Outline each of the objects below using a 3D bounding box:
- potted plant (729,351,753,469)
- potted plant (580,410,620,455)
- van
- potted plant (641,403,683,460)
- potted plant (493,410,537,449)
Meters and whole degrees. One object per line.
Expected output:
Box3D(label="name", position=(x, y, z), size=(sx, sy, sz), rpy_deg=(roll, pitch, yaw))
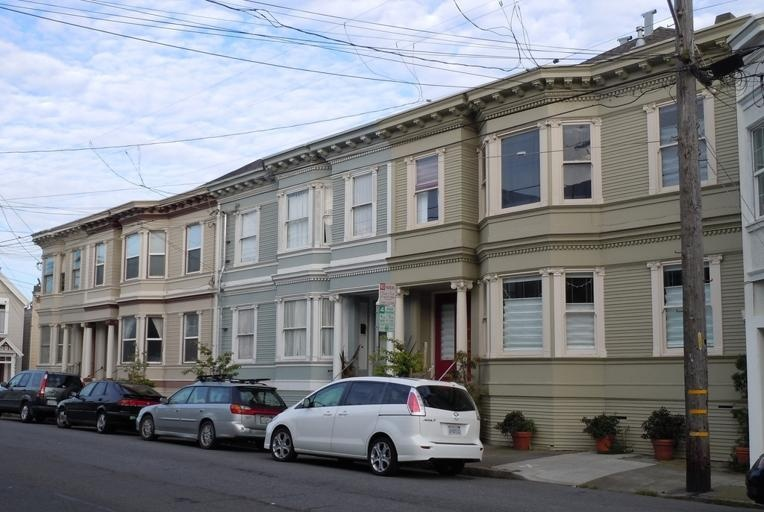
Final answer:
Box3D(label="potted plant", position=(9.475, 4.114, 24.145), size=(0.662, 3.029, 1.436), rpy_deg=(-6, -15, 19))
Box3D(label="potted plant", position=(6.384, 5.155, 26.395), size=(0.971, 1.082, 0.600), rpy_deg=(-3, -14, 10))
Box3D(label="van", position=(-0.444, 4.447, 23.910), size=(5.721, 2.484, 1.770), rpy_deg=(-8, -16, 29))
Box3D(label="potted plant", position=(7.889, 4.957, 25.640), size=(1.631, 1.473, 1.248), rpy_deg=(5, -16, -13))
Box3D(label="potted plant", position=(4.003, 5.199, 27.345), size=(1.243, 1.043, 1.083), rpy_deg=(1, -18, 0))
